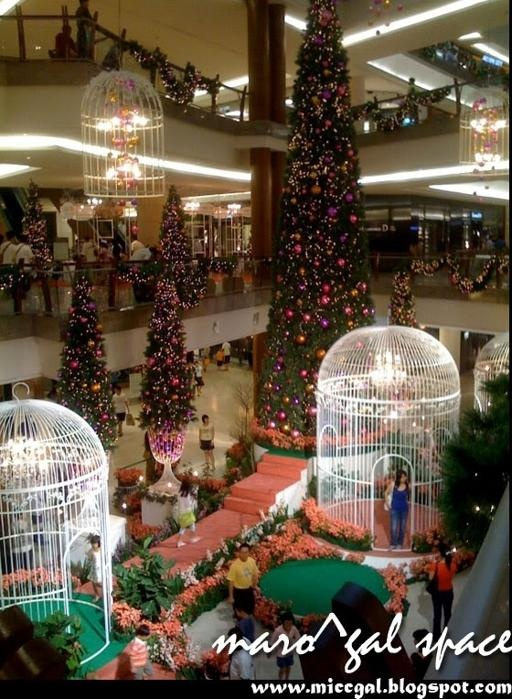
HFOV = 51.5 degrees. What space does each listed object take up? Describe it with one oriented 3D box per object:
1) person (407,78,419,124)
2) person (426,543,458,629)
[{"bbox_3d":[4.117,-6.503,13.890,0.266,1.238,1.284,1,8,16],"label":"person"},{"bbox_3d":[1.927,2.434,5.503,0.252,1.071,0.495,2,8,24],"label":"person"}]
